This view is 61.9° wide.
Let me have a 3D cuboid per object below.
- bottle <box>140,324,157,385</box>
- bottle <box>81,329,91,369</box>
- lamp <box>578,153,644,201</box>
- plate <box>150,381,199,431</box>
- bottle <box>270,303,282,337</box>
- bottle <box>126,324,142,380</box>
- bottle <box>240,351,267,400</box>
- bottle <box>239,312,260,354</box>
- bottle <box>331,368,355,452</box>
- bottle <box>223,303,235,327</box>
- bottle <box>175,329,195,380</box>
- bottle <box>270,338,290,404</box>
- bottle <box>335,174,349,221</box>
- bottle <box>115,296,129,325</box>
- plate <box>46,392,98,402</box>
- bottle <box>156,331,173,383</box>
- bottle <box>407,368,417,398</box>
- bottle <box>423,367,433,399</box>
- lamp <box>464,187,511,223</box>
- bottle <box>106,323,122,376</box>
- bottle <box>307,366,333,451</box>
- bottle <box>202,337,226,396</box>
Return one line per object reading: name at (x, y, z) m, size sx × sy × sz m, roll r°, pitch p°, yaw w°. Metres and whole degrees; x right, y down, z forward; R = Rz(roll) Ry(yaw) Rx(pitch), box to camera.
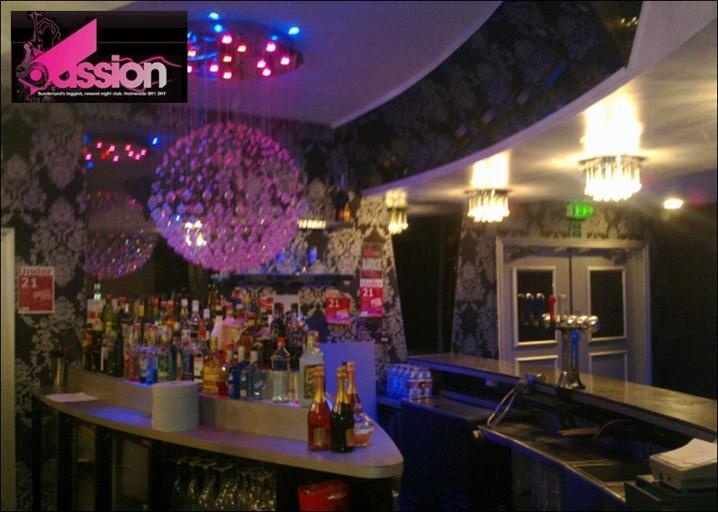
bottle at (-1.565, 0.734, 4.481) m, size 0.104 × 0.432 × 0.132 m, roll 2°, pitch -5°, yaw -20°
bottle at (-2.404, 0.821, 5.298) m, size 0.053 × 0.342 × 0.272 m, roll 3°, pitch -6°, yaw -29°
lamp at (2.496, -0.812, 5.877) m, size 0.617 × 0.452 × 0.594 m, roll -8°, pitch 15°, yaw -7°
plate at (-1.229, 1.009, 4.030) m, size 0.311 × 0.318 × 0.144 m, roll 2°, pitch -5°, yaw -17°
bottle at (-0.590, 0.466, 4.360) m, size 0.091 × 0.232 × 0.445 m, roll 1°, pitch -6°, yaw -8°
bottle at (-1.769, 0.745, 4.658) m, size 0.072 × 0.437 × 0.241 m, roll 5°, pitch -7°, yaw -42°
bottle at (-0.720, 0.813, 4.091) m, size 0.165 × 0.333 × 0.165 m, roll -1°, pitch -9°, yaw 0°
bottle at (-0.772, 0.572, 4.287) m, size 0.166 × 0.267 × 0.167 m, roll 3°, pitch -7°, yaw 0°
bottle at (-0.100, 0.945, 3.677) m, size 0.132 × 0.501 × 0.077 m, roll 1°, pitch -5°, yaw -7°
bottle at (-0.945, 0.437, 4.367) m, size 0.080 × 0.162 × 0.266 m, roll 1°, pitch -6°, yaw -12°
bottle at (-1.267, 0.721, 4.391) m, size 0.130 × 0.354 × 0.092 m, roll 0°, pitch -5°, yaw 1°
bottle at (-0.523, 0.754, 3.991) m, size 0.120 × 0.422 × 0.222 m, roll 1°, pitch -5°, yaw -12°
bottle at (-0.187, -0.700, 7.288) m, size 0.168 × 0.544 × 0.100 m, roll 1°, pitch -5°, yaw -5°
bottle at (-2.013, 0.472, 5.109) m, size 0.106 × 0.230 × 0.406 m, roll 2°, pitch -6°, yaw -22°
plate at (-2.403, 1.173, 4.982) m, size 0.294 × 0.045 × 0.584 m, roll 5°, pitch -8°, yaw -40°
bottle at (-1.443, 0.750, 4.471) m, size 0.127 × 0.351 × 0.248 m, roll 2°, pitch -6°, yaw -18°
bottle at (0.595, 1.416, 6.642) m, size 0.108 × 0.292 × 0.169 m, roll 1°, pitch -5°, yaw -6°
bottle at (0.758, 1.391, 6.573) m, size 0.086 × 0.269 × 0.207 m, roll 0°, pitch -5°, yaw 0°
lamp at (1.523, -0.589, 7.116) m, size 0.418 × 0.282 × 0.430 m, roll 0°, pitch -3°, yaw -8°
bottle at (-1.978, 0.769, 4.859) m, size 0.088 × 0.392 × 0.254 m, roll 4°, pitch -6°, yaw -35°
bottle at (-0.241, 0.942, 3.702) m, size 0.147 × 0.508 × 0.075 m, roll 1°, pitch -5°, yaw -5°
bottle at (-0.997, 0.773, 4.195) m, size 0.234 × 0.387 × 0.100 m, roll -4°, pitch -7°, yaw 40°
